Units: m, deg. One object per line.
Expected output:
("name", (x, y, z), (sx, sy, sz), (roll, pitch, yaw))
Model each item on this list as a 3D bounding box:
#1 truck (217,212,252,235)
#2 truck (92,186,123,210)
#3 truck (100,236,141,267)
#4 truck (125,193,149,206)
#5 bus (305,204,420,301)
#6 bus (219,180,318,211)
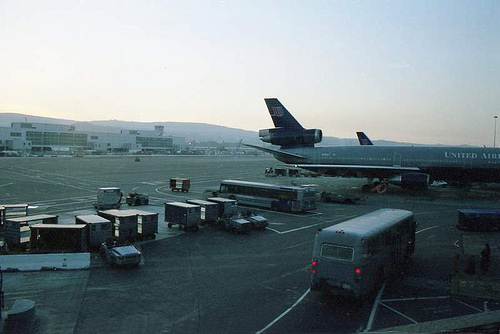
("truck", (-2.084, 5.798, 43.638), (4.018, 1.437, 2.387), (2, 10, 26))
("truck", (-18.591, 4.149, 52.125), (4.105, 2.717, 2.440), (3, 1, -41))
("truck", (-10.983, 7.071, 34.054), (2.120, 1.512, 3.799), (-10, 14, -40))
("truck", (-14.820, 4.383, 54.701), (2.598, 0.904, 1.402), (-3, 6, -41))
("bus", (8.020, 6.044, 31.064), (5.240, 4.822, 10.854), (8, 13, 37))
("bus", (1.725, 3.669, 54.703), (14.482, 2.930, 3.640), (5, 6, 41))
